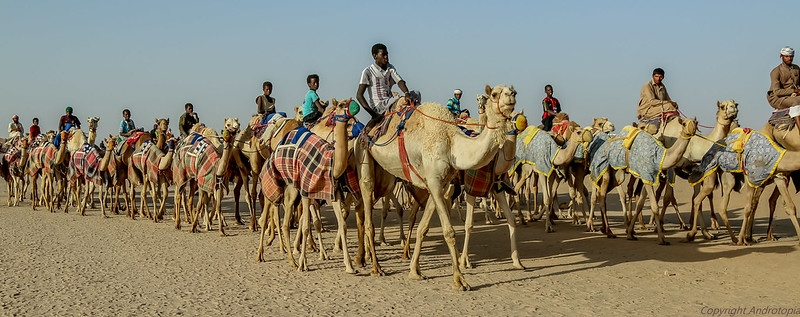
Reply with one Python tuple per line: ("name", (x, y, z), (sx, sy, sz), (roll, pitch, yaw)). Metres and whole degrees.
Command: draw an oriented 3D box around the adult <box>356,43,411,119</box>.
("adult", (-0.782, -2.992, 31.096), (1.640, 2.668, 0.606), (-2, -2, 0))
